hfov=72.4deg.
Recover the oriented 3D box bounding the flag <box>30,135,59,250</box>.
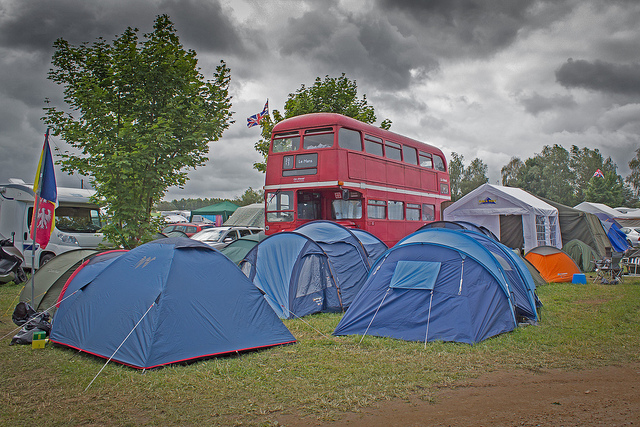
[{"bbox_3d":[-7.464,-0.692,12.028,0.696,3.349,0.390,10,9,2],"label":"flag"}]

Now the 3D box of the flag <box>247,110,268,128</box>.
[{"bbox_3d":[-4.253,-6.547,29.802,1.010,1.143,2.238,2,11,10],"label":"flag"}]

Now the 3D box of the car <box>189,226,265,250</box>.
[{"bbox_3d":[-4.167,1.038,20.523,1.388,0.993,2.842,-4,-7,39],"label":"car"}]
